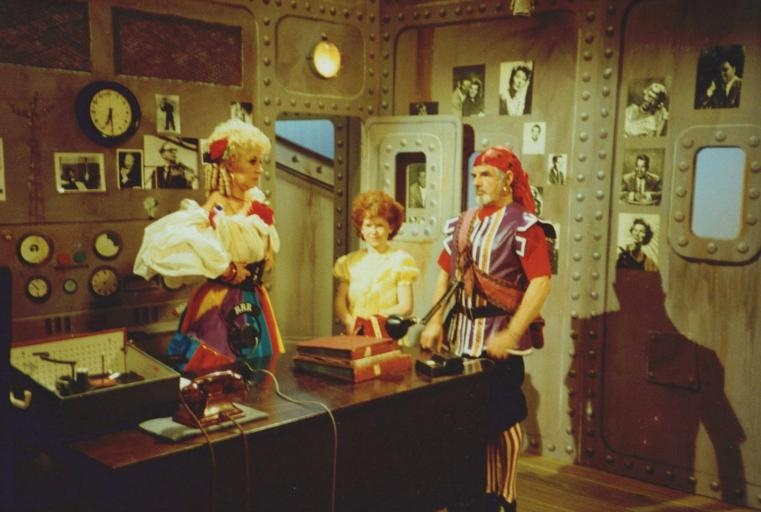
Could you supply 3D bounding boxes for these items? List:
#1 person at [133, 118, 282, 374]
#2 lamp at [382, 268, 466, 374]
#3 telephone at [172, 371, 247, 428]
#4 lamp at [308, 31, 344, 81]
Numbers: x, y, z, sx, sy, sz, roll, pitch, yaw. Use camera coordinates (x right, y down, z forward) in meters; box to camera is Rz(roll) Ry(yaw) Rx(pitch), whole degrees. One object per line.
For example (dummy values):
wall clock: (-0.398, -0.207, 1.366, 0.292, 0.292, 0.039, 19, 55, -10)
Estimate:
person: (-1.005, -0.100, 4.086, 0.794, 1.426, 0.432, -5, 11, -41)
lamp: (0.316, 0.351, 3.821, 0.421, 0.446, 0.683, 5, 9, 20)
telephone: (-0.764, 0.567, 3.030, 0.197, 0.219, 0.325, 20, 15, 38)
lamp: (-0.389, -1.425, 4.822, 0.206, 0.302, 0.068, -7, 10, -29)
